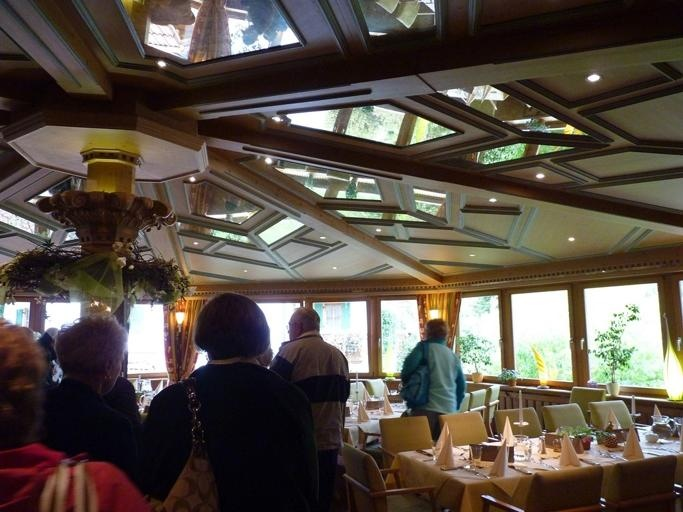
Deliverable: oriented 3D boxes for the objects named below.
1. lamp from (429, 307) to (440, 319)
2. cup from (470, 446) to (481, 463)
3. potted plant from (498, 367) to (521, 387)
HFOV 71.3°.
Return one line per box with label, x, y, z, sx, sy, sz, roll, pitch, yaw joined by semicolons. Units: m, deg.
lamp;1.919;1.166;9.801;0.238;0.217;0.318;-3;-15;16
cup;1.036;1.530;3.668;0.106;0.113;0.106;0;-12;0
potted plant;2.992;2.163;8.492;0.308;0.288;0.296;15;-16;-39
